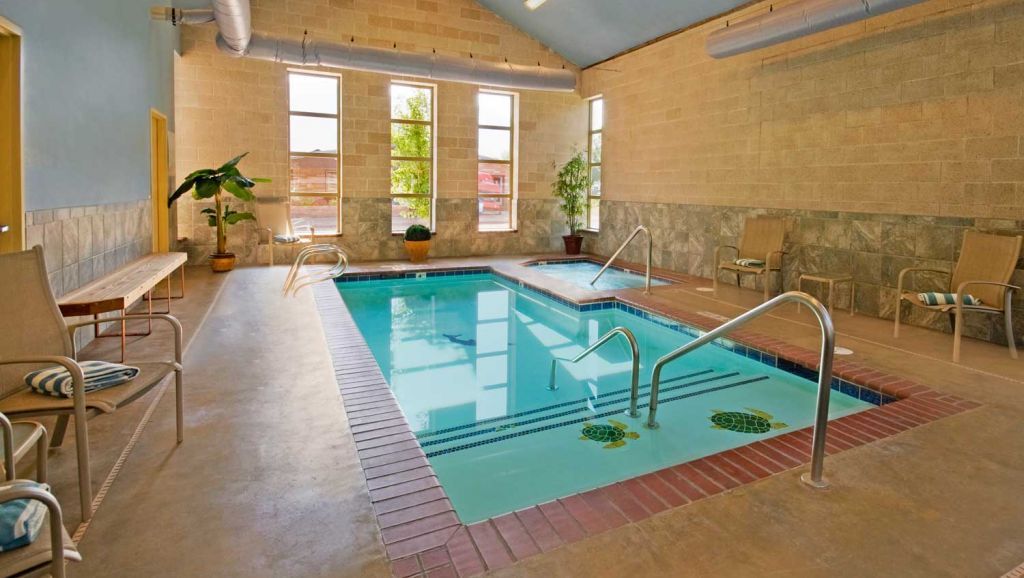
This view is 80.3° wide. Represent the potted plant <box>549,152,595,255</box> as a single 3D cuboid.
[{"bbox_3d":[1.380,-2.008,14.352,0.778,2.309,1.018,2,14,13],"label":"potted plant"}]

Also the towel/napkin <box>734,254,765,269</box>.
[{"bbox_3d":[3.787,-0.423,9.741,0.430,0.091,0.631,1,12,9],"label":"towel/napkin"}]

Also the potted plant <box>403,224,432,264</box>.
[{"bbox_3d":[-2.086,-0.960,12.976,0.580,0.757,0.527,0,13,3],"label":"potted plant"}]

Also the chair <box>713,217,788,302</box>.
[{"bbox_3d":[3.928,-0.533,9.961,0.816,1.136,0.931,-15,18,-39],"label":"chair"}]

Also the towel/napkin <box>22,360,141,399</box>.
[{"bbox_3d":[-3.587,0.725,5.077,0.685,0.169,0.581,5,13,26],"label":"towel/napkin"}]

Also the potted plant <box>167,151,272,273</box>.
[{"bbox_3d":[-5.672,-1.431,11.466,2.016,2.155,2.109,6,11,23],"label":"potted plant"}]
